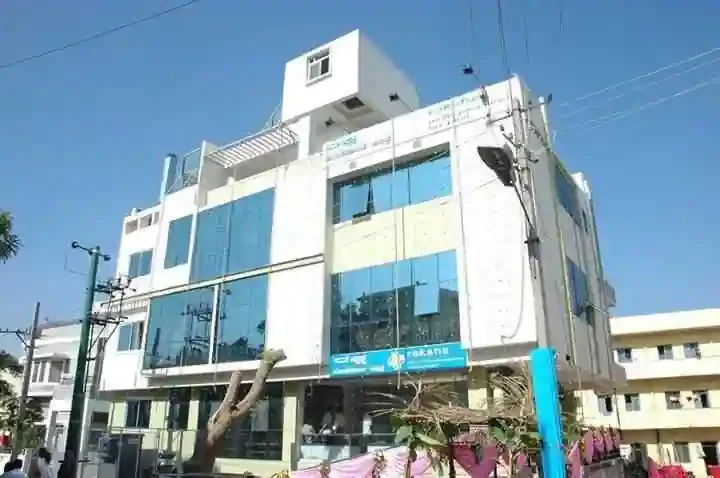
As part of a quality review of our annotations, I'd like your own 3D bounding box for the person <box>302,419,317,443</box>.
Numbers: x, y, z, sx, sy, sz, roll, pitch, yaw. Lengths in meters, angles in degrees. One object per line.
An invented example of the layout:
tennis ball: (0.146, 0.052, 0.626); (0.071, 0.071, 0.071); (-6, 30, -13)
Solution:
person: (-3.054, 11.055, 31.299); (0.782, 1.459, 2.546); (1, -23, -6)
